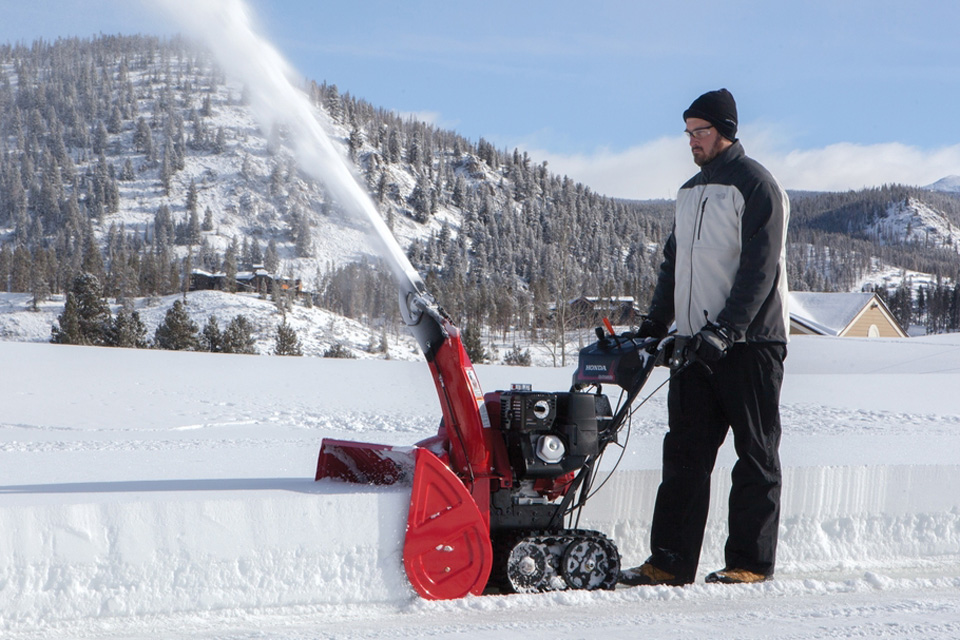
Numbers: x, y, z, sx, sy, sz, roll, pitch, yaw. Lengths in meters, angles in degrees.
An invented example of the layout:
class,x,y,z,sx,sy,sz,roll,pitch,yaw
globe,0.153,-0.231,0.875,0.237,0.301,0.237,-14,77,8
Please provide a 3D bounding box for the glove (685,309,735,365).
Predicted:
class,x,y,z,sx,sy,sz,roll,pitch,yaw
glove,3.760,0.290,21.923,0.728,0.497,0.212,-4,2,-14

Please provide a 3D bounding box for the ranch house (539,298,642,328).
class,x,y,z,sx,sy,sz,roll,pitch,yaw
ranch house,4.949,-0.695,60.492,3.025,1.016,2.074,-3,5,-25

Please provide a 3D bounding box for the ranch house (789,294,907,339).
class,x,y,z,sx,sy,sz,roll,pitch,yaw
ranch house,18.366,-0.725,66.574,4.710,2.245,4.302,4,11,-17

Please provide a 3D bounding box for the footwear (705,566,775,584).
class,x,y,z,sx,sy,sz,roll,pitch,yaw
footwear,4.342,4.153,22.319,1.112,0.477,0.382,3,-10,-1

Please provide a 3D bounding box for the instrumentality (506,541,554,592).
class,x,y,z,sx,sy,sz,roll,pitch,yaw
instrumentality,0.779,3.970,21.855,0.766,0.787,0.267,2,-2,3

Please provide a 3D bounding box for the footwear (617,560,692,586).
class,x,y,z,sx,sy,sz,roll,pitch,yaw
footwear,2.892,4.175,22.284,1.197,0.522,0.441,8,-14,-1
